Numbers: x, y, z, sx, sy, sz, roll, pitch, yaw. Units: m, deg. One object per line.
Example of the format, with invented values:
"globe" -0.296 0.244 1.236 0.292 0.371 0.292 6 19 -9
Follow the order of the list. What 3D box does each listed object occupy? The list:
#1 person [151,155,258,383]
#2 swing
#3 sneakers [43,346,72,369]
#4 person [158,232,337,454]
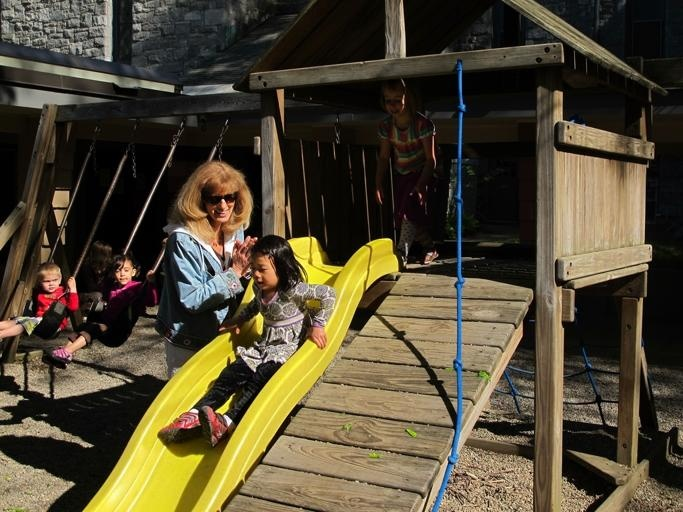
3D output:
"person" -0.923 0.316 4.714 0.692 1.932 0.770 19 24 30
"swing" -2.606 -0.376 7.543 0.793 3.284 0.282 12 -13 28
"sneakers" -2.716 0.976 6.195 0.246 0.215 0.225 2 4 -36
"person" -0.649 0.488 4.325 0.843 0.879 1.510 -4 17 29
